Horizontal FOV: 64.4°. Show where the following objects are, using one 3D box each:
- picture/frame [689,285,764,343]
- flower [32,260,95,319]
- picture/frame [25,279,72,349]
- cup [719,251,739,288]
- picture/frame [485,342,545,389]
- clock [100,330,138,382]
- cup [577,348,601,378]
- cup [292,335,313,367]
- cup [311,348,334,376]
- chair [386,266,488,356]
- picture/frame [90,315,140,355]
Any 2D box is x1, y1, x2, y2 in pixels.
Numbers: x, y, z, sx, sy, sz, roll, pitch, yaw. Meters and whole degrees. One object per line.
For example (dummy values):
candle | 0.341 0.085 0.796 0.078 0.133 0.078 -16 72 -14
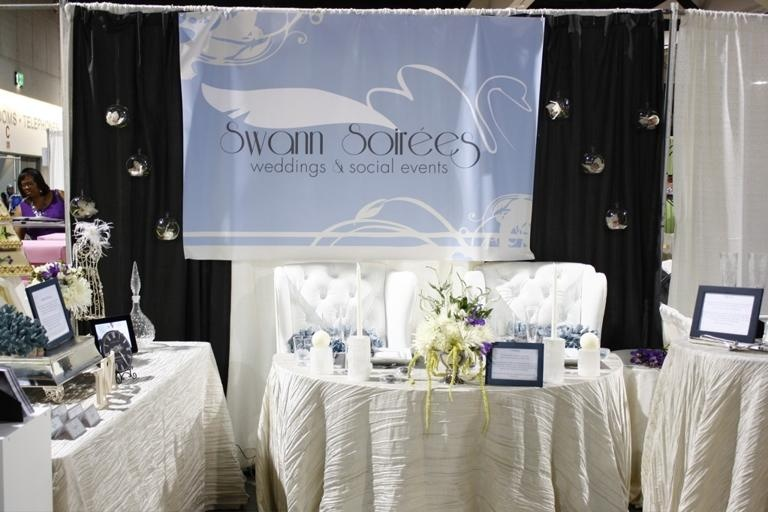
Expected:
picture/frame | 1.964 0.334 3.487 0.275 0.298 0.022 7 -17 33
flower | -1.678 0.164 3.292 0.267 0.308 0.283 -13 16 -9
picture/frame | -1.671 0.294 3.021 0.020 0.314 0.271 -15 8 7
cup | 2.013 0.077 3.554 0.088 0.191 0.096 0 3 0
picture/frame | 0.697 0.577 3.241 0.213 0.206 0.021 0 3 3
clock | -1.421 0.534 3.234 0.064 0.302 0.226 -23 -12 22
cup | 1.130 0.596 3.375 0.126 0.162 0.131 2 -8 0
cup | -0.472 0.550 3.536 0.094 0.185 0.102 1 -34 1
cup | -0.350 0.579 3.384 0.126 0.165 0.131 1 2 0
chair | 0.355 0.349 4.059 0.599 0.776 0.538 0 -8 -5
picture/frame | -1.489 0.435 3.354 0.021 0.202 0.214 -16 -4 26
